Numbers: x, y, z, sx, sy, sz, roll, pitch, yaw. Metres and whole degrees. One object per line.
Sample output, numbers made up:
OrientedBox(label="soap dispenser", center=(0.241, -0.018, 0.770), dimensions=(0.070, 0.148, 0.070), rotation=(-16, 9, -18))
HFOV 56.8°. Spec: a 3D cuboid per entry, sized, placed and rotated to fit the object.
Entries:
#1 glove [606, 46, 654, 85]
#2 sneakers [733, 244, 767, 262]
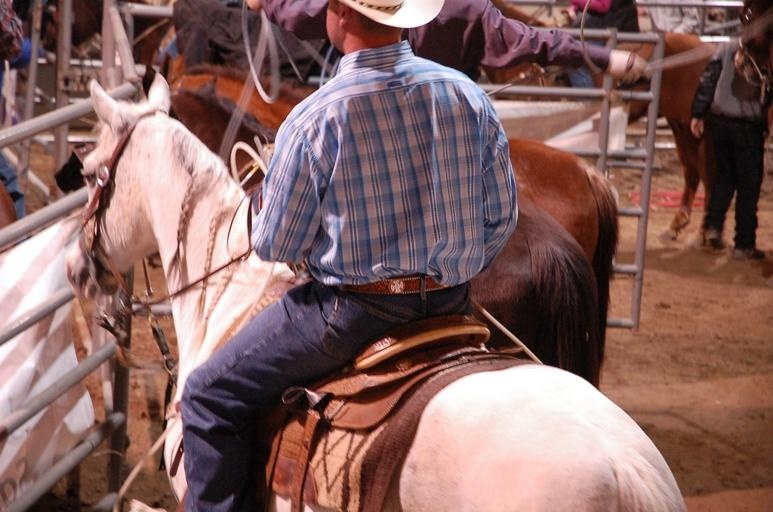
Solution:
OrientedBox(label="glove", center=(1.527, -1.172, 4.474), dimensions=(0.244, 0.199, 0.117), rotation=(23, -8, 17))
OrientedBox(label="sneakers", center=(4.311, -0.041, 8.402), dimensions=(0.204, 0.154, 0.077), rotation=(12, 50, 4))
